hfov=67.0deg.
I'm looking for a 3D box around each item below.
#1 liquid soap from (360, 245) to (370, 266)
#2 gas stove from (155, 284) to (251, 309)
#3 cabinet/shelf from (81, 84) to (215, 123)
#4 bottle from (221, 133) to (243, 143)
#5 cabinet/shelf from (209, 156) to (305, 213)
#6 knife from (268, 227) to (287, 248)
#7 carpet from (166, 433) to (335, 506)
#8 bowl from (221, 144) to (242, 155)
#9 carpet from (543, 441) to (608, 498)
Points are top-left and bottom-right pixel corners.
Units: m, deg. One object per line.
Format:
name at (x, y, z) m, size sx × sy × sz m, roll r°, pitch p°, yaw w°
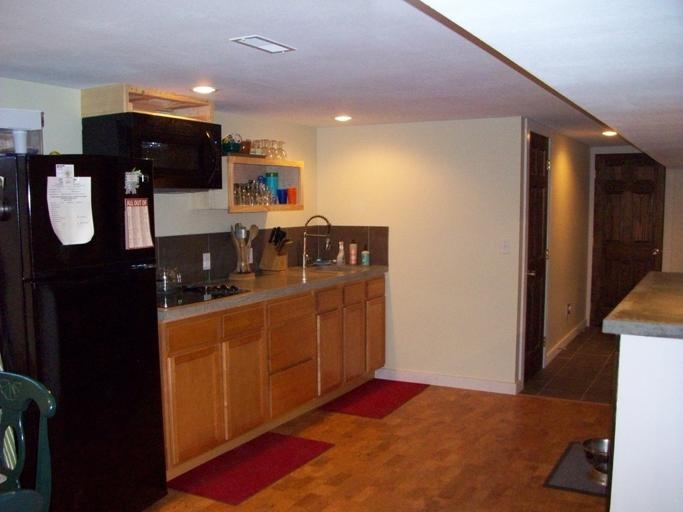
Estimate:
liquid soap at (0.258, -0.010, 5.516) m, size 0.087 × 0.203 × 0.141 m, roll 0°, pitch 7°, yaw 1°
gas stove at (-1.085, 0.271, 3.725) m, size 0.577 × 0.059 × 0.805 m, roll 1°, pitch 7°, yaw 16°
cabinet/shelf at (-1.313, -1.065, 3.575) m, size 0.891 × 0.210 × 0.425 m, roll -4°, pitch 7°, yaw -27°
bottle at (-0.948, -1.031, 4.481) m, size 0.197 × 0.076 × 0.175 m, roll -2°, pitch 12°, yaw 17°
cabinet/shelf at (-0.749, -0.641, 4.611) m, size 0.451 × 0.471 × 0.976 m, roll 2°, pitch 7°, yaw 23°
knife at (-0.639, -0.182, 5.052) m, size 0.141 × 0.227 × 0.141 m, roll 21°, pitch 21°, yaw 37°
carpet at (-0.652, 1.517, 3.718) m, size 0.615 × 0.016 × 1.013 m, roll 4°, pitch 8°, yaw 36°
bowl at (-0.905, -0.894, 4.248) m, size 0.122 × 0.067 × 0.107 m, roll -8°, pitch 10°, yaw -19°
carpet at (1.613, 1.481, 3.538) m, size 0.285 × 0.004 × 0.469 m, roll -2°, pitch 6°, yaw 23°
